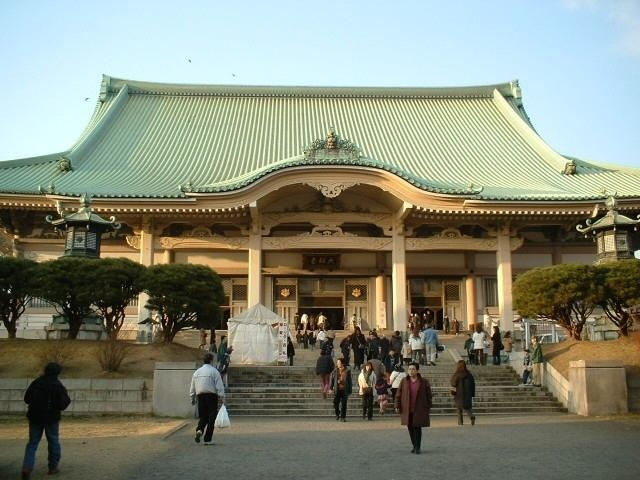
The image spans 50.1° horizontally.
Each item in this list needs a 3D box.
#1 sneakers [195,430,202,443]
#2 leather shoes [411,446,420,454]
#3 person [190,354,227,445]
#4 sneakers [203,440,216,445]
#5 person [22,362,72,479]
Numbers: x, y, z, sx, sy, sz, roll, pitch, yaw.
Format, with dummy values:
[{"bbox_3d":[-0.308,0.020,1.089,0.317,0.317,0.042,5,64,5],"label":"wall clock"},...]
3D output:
[{"bbox_3d":[-2.629,4.270,14.933,0.150,0.288,0.144,4,4,-5],"label":"sneakers"},{"bbox_3d":[1.990,4.342,14.213,0.123,0.117,0.297,0,-16,-1],"label":"leather shoes"},{"bbox_3d":[-2.515,3.524,15.307,0.725,1.943,1.238,2,-12,-9],"label":"person"},{"bbox_3d":[-2.415,4.434,15.081,0.201,0.085,0.315,-8,-12,42],"label":"sneakers"},{"bbox_3d":[-5.144,3.320,12.801,0.817,2.056,0.592,11,-16,-40],"label":"person"}]
